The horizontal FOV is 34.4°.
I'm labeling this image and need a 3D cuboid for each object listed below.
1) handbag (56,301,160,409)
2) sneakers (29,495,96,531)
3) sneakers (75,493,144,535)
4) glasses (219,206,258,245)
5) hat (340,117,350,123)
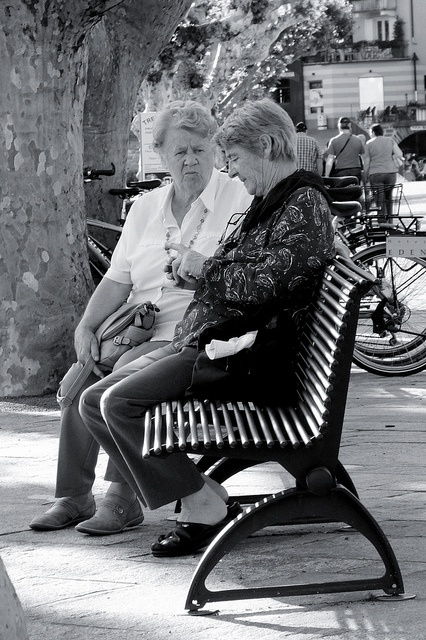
[{"bbox_3d":[-0.443,0.124,2.916,0.167,0.507,0.360,45,7,-17],"label":"handbag"},{"bbox_3d":[-0.610,0.762,2.836,0.273,0.095,0.097,-6,6,-37],"label":"sneakers"},{"bbox_3d":[-0.412,0.756,2.745,0.131,0.158,0.362,-8,-10,30],"label":"sneakers"},{"bbox_3d":[0.093,-0.404,2.823,0.055,0.060,0.281,9,-13,-12],"label":"glasses"},{"bbox_3d":[2.952,-4.556,15.612,0.222,0.087,0.261,-1,5,-2],"label":"hat"}]
